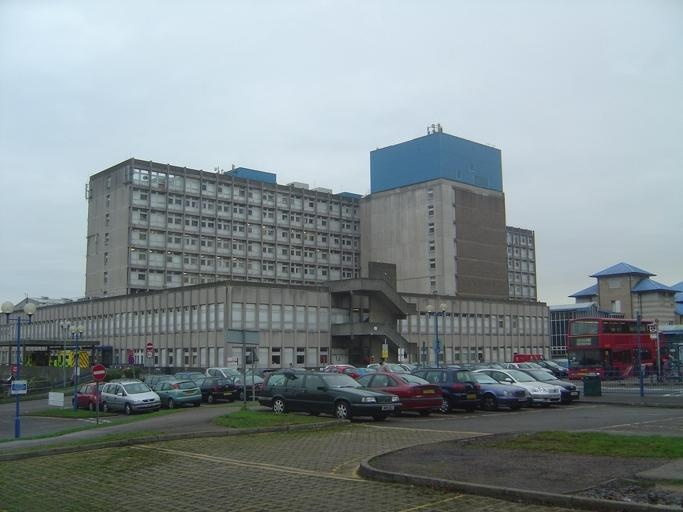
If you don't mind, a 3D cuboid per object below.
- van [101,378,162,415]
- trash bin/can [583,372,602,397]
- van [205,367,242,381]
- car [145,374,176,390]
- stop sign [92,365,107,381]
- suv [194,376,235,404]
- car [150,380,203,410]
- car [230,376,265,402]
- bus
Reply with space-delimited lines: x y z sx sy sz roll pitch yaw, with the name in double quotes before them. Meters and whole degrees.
"van" -10.816 7.212 36.056 1.618 1.212 2.986 7 -14 -40
"trash bin/can" 13.213 6.815 36.960 0.866 1.016 1.128 -5 -12 14
"van" -7.152 7.278 44.477 2.111 0.993 1.295 -15 -16 40
"car" -10.252 6.933 39.168 1.030 0.807 1.739 3 -2 -39
"stop sign" -10.681 5.041 30.896 0.482 0.629 0.942 3 -13 -24
"suv" -6.680 7.155 37.677 1.068 0.769 2.311 3 -4 -40
"car" -8.680 7.133 36.755 1.232 0.825 2.493 3 -5 -39
"car" -4.646 6.899 37.104 1.256 0.864 2.680 2 -4 -31
"bus" 21.779 7.382 56.103 3.335 4.587 10.052 -8 -11 44
